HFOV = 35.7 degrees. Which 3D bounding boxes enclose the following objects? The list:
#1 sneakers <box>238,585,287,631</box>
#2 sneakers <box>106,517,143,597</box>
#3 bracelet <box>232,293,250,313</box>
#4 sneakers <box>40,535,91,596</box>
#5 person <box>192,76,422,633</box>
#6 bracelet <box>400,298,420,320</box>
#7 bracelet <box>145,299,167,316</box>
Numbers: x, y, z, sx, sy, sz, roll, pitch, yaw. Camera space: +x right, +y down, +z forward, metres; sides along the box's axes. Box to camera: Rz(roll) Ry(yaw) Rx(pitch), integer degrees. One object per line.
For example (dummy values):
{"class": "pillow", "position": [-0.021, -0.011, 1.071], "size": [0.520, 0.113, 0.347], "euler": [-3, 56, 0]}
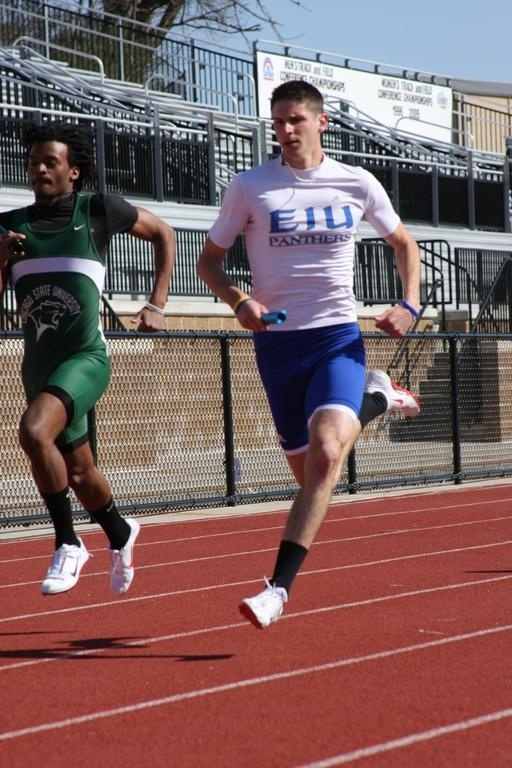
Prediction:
{"class": "sneakers", "position": [0.021, 0.691, 2.462], "size": [0.077, 0.093, 0.195], "euler": [52, 6, 8]}
{"class": "sneakers", "position": [-0.578, 0.728, 3.375], "size": [0.114, 0.323, 0.143], "euler": [1, 4, 24]}
{"class": "bracelet", "position": [-0.056, -0.299, 2.899], "size": [0.028, 0.075, 0.065], "euler": [40, -2, -10]}
{"class": "sneakers", "position": [-0.725, 0.706, 3.124], "size": [0.103, 0.113, 0.302], "euler": [2, 19, 10]}
{"class": "person", "position": [0.168, -0.223, 3.047], "size": [1.106, 2.040, 0.628], "euler": [3, -8, -44]}
{"class": "bracelet", "position": [0.606, -0.296, 3.135], "size": [0.083, 0.024, 0.060], "euler": [39, 13, -26]}
{"class": "bracelet", "position": [-0.433, -0.326, 3.431], "size": [0.072, 0.019, 0.071], "euler": [27, 7, -10]}
